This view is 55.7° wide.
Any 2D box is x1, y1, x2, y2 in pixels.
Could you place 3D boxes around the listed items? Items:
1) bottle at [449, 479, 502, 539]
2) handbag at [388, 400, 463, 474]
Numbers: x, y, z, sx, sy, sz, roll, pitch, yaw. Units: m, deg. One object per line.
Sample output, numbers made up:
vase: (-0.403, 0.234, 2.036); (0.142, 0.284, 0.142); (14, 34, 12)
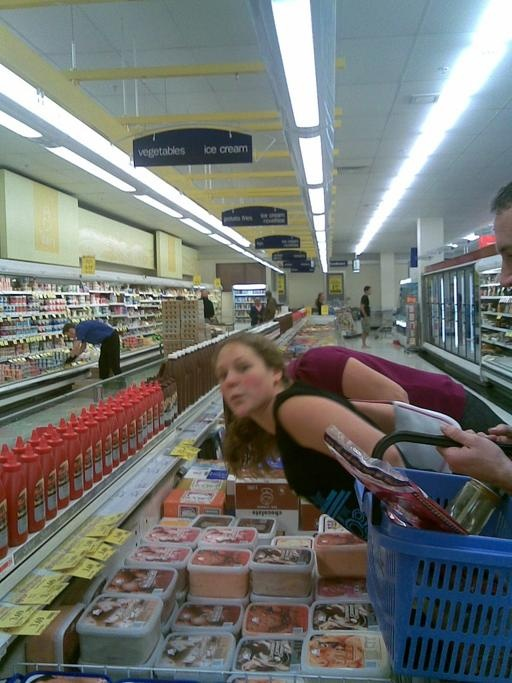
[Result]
bottle: (0.461, 0.343, 0.971); (0.055, 0.091, 0.056); (34, -16, 11)
handbag: (0.416, 0.235, 1.215); (0.216, 0.078, 0.163); (6, 24, 10)
